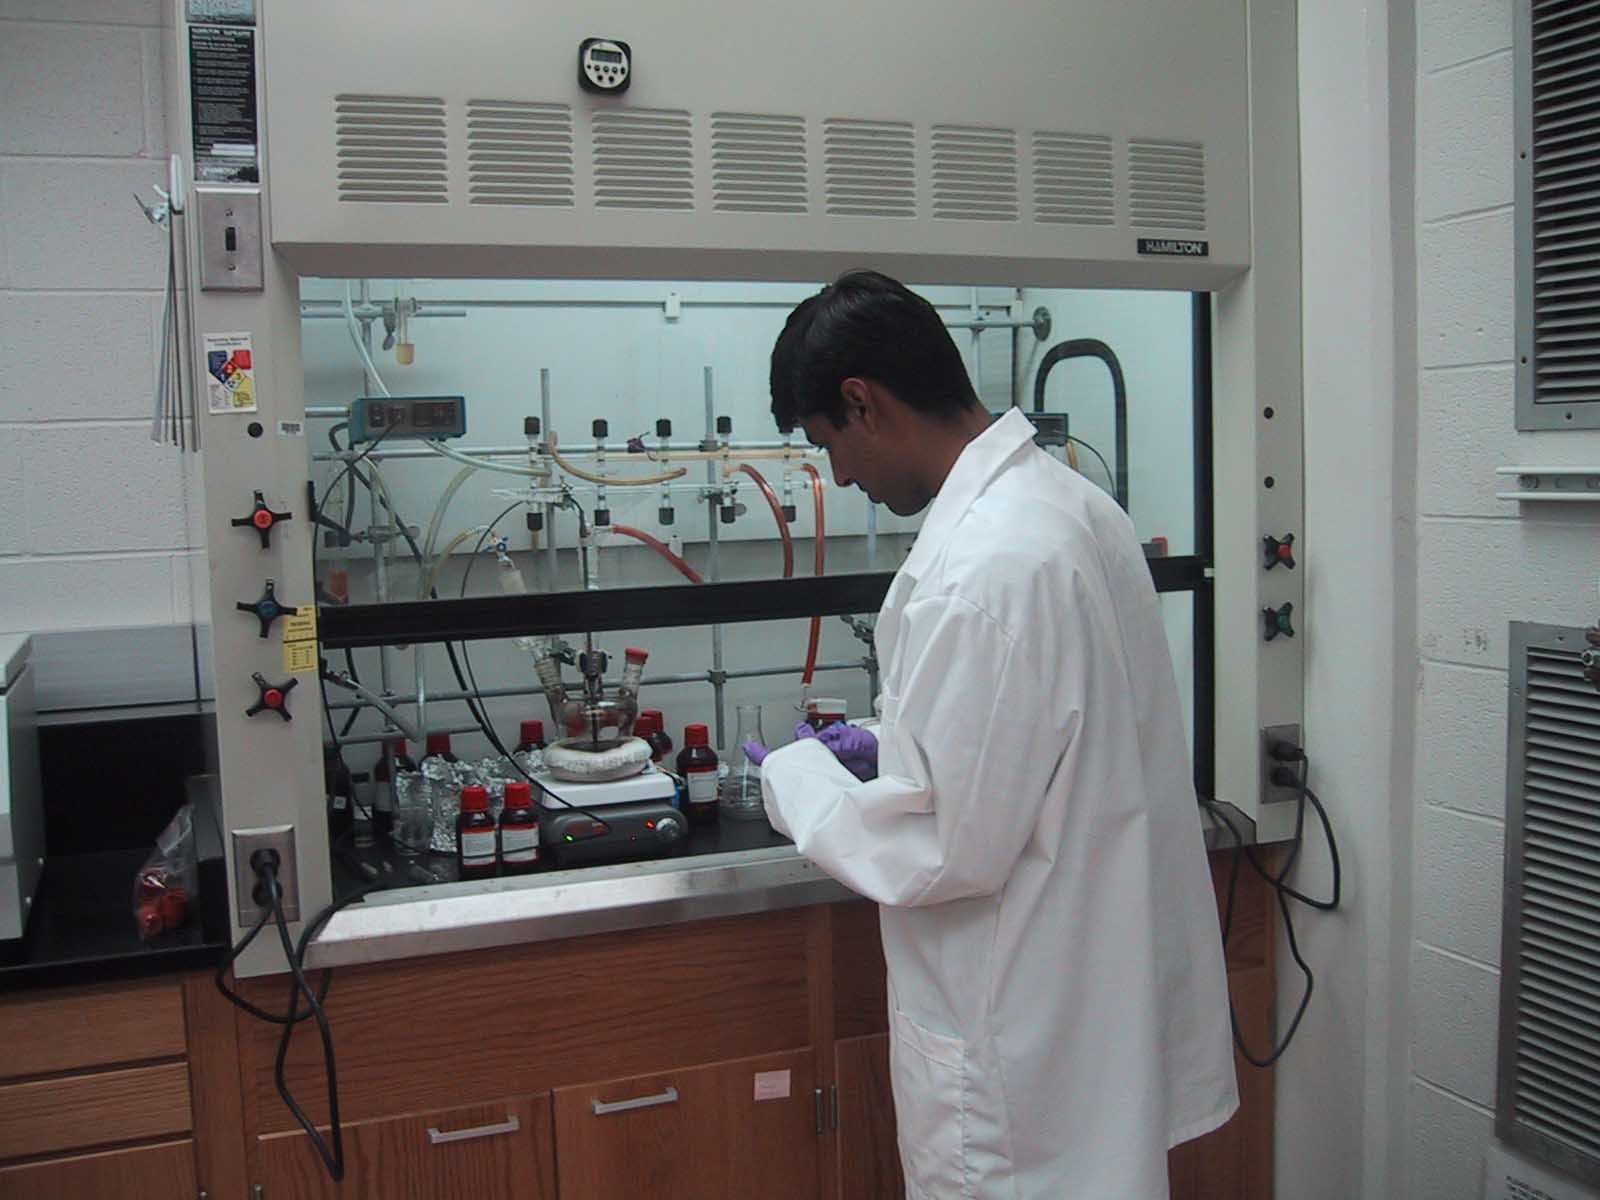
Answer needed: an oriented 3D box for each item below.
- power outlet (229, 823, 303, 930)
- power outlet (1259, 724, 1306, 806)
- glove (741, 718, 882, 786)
[{"bbox_3d":[-0.956,0.488,2.365,0.120,0.204,0.102,-2,-2,-23],"label":"power outlet"},{"bbox_3d":[1.006,0.348,2.795,0.081,0.175,0.059,-3,10,10],"label":"power outlet"},{"bbox_3d":[0.020,0.294,2.559,0.169,0.067,0.178,1,-3,-25],"label":"glove"}]
